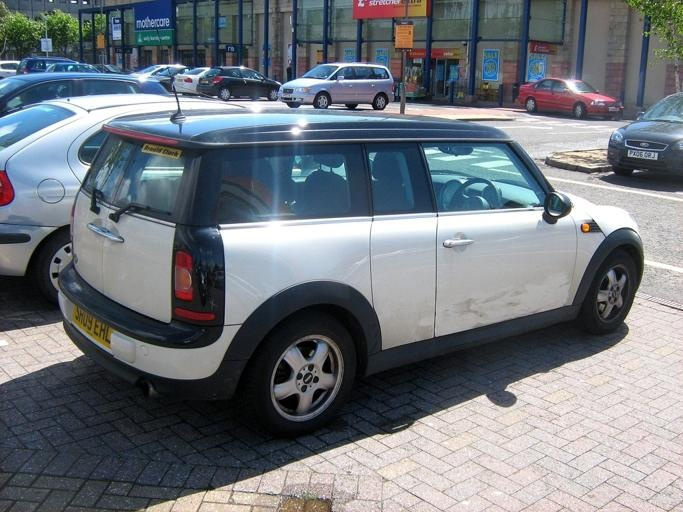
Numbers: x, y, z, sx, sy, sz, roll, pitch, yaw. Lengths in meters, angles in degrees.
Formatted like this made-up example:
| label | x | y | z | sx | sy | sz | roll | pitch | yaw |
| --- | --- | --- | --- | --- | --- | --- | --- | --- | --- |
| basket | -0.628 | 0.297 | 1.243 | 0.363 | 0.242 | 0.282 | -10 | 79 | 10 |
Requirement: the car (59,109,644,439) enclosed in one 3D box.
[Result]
| label | x | y | z | sx | sy | sz | roll | pitch | yaw |
| --- | --- | --- | --- | --- | --- | --- | --- | --- | --- |
| car | 0.014 | 0.018 | 3.644 | 3.587 | 2.019 | 1.083 | -6 | 17 | -29 |

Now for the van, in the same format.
| label | x | y | z | sx | sy | sz | roll | pitch | yaw |
| --- | --- | --- | --- | --- | --- | --- | --- | --- | --- |
| van | -0.030 | -9.985 | 28.383 | 6.366 | 2.638 | 1.255 | -4 | 15 | -22 |
